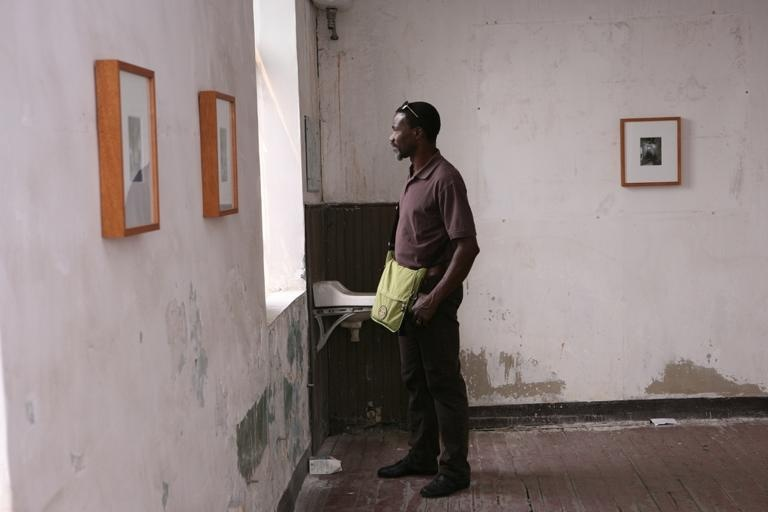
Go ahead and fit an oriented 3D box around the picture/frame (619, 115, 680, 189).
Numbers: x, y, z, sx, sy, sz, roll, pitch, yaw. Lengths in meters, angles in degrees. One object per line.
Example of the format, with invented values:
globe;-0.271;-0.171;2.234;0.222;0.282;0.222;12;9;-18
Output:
picture/frame;1.687;-0.679;4.205;0.384;0.514;0.020;0;-1;1

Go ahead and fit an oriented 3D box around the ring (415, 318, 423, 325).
ring;0.173;0.326;3.290;0.024;0.029;0.029;2;-4;14

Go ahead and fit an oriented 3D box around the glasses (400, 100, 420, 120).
glasses;0.139;-0.744;3.413;0.048;0.071;0.107;-6;-39;19

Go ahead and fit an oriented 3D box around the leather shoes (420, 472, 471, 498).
leather shoes;0.307;1.163;3.407;0.202;0.092;0.109;2;-9;-22

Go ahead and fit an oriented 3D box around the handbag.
handbag;0.085;0.203;3.376;0.097;0.361;0.255;10;13;-41

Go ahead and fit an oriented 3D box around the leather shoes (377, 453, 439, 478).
leather shoes;0.135;1.149;3.650;0.359;0.153;0.130;2;-8;1

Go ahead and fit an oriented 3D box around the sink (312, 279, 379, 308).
sink;-0.232;0.216;3.874;0.353;0.142;0.180;-2;7;3

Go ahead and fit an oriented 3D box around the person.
person;0.233;0.209;3.407;0.335;1.985;0.548;-8;9;-44
